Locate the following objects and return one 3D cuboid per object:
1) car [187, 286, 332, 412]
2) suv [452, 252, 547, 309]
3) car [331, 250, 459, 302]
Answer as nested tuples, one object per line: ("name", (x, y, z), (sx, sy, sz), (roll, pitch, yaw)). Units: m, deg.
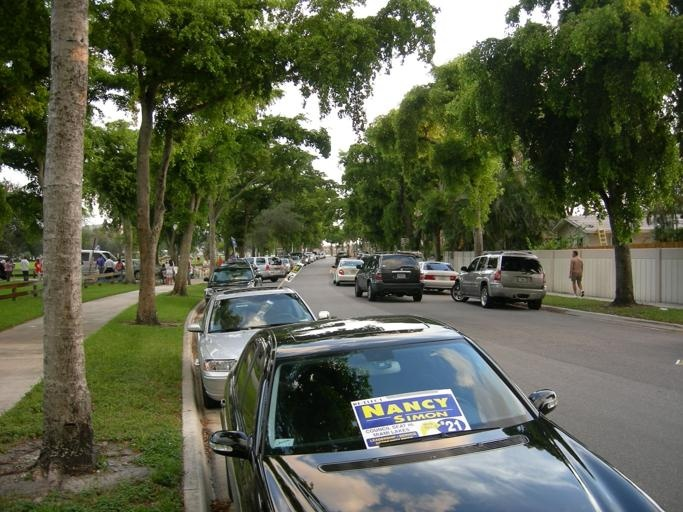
("car", (-1.126, 1.142, 6.692), (1.349, 1.028, 2.823), (-2, -8, -14))
("suv", (6.412, 0.981, 22.150), (1.894, 2.297, 3.674), (2, -2, -20))
("car", (1.675, 0.979, 24.871), (2.214, 2.136, 4.345), (2, -2, -42))
